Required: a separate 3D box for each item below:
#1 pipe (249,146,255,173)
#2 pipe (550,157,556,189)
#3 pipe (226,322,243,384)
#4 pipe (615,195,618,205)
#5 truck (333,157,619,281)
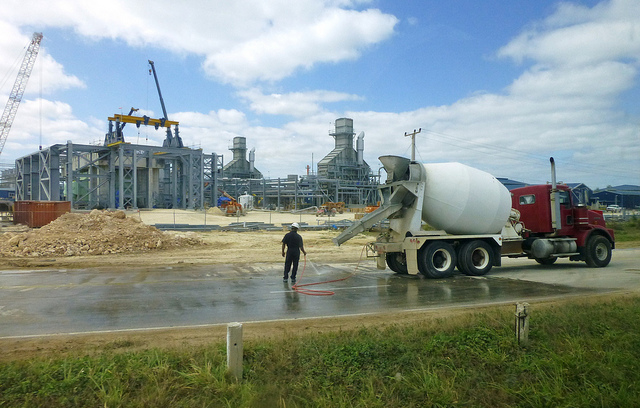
[{"bbox_3d":[-14.655,-9.291,110.259,0.725,4.941,1.583,-2,5,-22],"label":"pipe"},{"bbox_3d":[10.156,-1.295,22.180,0.163,1.275,0.603,3,5,27],"label":"pipe"},{"bbox_3d":[-1.888,3.357,11.091,0.290,1.212,0.378,-41,-56,21],"label":"pipe"},{"bbox_3d":[61.898,-1.084,106.784,0.344,1.650,1.392,3,5,27],"label":"pipe"},{"bbox_3d":[6.930,0.577,22.340,13.039,4.280,4.236,1,0,-22],"label":"truck"}]
